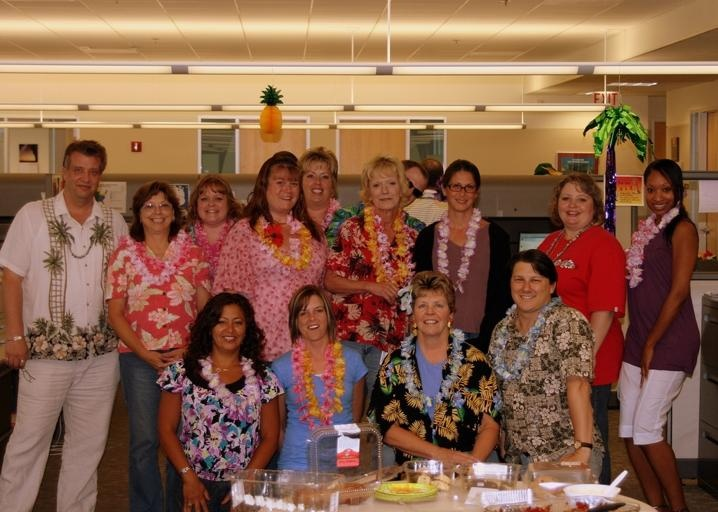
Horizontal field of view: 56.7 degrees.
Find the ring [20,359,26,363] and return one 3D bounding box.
[{"bbox_3d":[-2.002,0.626,3.960,0.020,0.021,0.021,2,-12,0],"label":"ring"}]

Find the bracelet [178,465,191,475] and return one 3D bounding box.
[{"bbox_3d":[-0.944,1.170,3.612,0.052,0.035,0.053,-15,-15,22],"label":"bracelet"}]

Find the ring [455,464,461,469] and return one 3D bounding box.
[{"bbox_3d":[0.425,0.911,2.860,0.017,0.017,0.010,5,-7,-22],"label":"ring"}]

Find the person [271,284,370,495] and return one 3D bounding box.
[{"bbox_3d":[-0.238,0.753,3.940,0.546,1.161,0.452,-2,19,1],"label":"person"}]

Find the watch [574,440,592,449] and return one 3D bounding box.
[{"bbox_3d":[1.113,0.943,3.300,0.064,0.042,0.067,4,-20,2],"label":"watch"}]

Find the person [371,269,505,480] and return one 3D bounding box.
[{"bbox_3d":[0.380,0.789,3.495,0.732,1.296,0.679,0,5,7],"label":"person"}]

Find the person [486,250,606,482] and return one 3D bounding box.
[{"bbox_3d":[0.946,0.547,3.438,0.600,1.124,0.449,1,6,22],"label":"person"}]

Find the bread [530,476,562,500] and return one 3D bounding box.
[{"bbox_3d":[0.752,0.948,2.687,0.125,0.058,0.110,1,6,15],"label":"bread"}]
